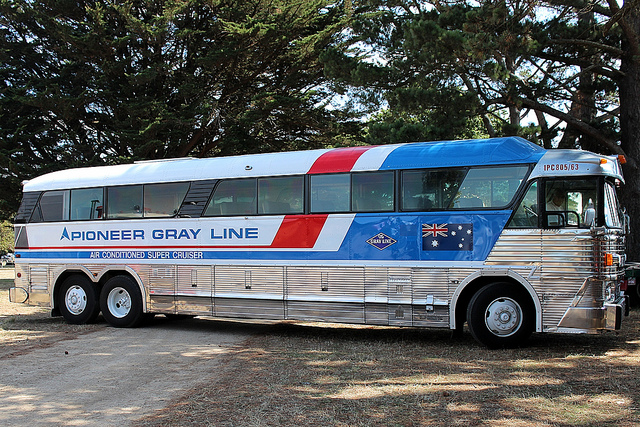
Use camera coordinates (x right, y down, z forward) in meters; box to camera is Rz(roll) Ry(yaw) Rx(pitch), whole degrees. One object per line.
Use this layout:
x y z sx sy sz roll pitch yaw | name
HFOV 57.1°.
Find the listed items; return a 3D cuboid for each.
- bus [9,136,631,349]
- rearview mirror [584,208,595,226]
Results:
-2.220 0.682 18.194 22.045 5.507 5.595 -3 -3 23 | bus
5.788 0.104 12.603 0.202 0.361 0.168 -1 4 -1 | rearview mirror
